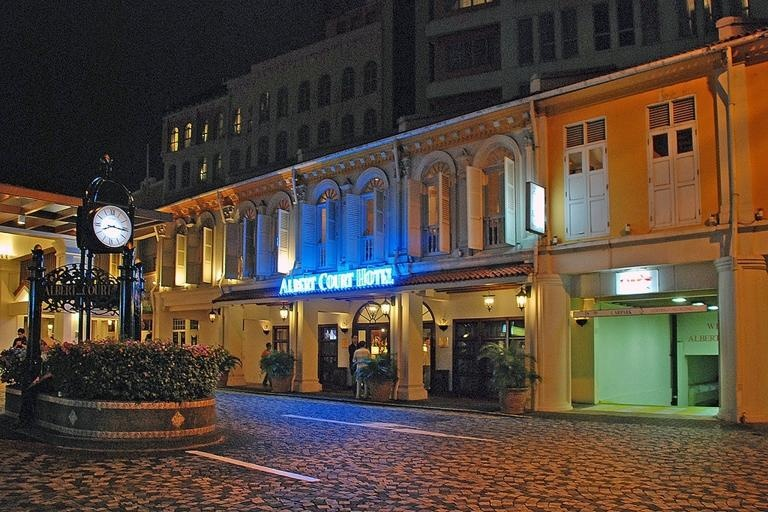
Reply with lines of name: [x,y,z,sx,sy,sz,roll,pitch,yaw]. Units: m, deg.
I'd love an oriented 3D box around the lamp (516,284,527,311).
lamp: [4.734,1.425,29.446,0.331,0.803,0.703,2,3,9]

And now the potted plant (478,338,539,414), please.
potted plant: [4.436,4.188,29.034,2.023,2.460,2.334,-12,-17,42]

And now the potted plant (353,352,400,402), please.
potted plant: [-0.266,4.611,31.829,1.624,1.610,1.628,0,-16,3]

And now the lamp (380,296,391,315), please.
lamp: [0.121,1.953,32.739,0.552,0.765,0.520,-3,-4,5]

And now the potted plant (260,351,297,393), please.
potted plant: [-4.592,4.790,34.795,1.515,1.518,1.527,-5,-6,31]

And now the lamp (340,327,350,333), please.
lamp: [-1.702,3.156,36.151,0.235,0.193,0.259,2,-8,-14]

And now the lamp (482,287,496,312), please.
lamp: [3.846,1.693,32.085,0.550,0.847,0.567,3,4,26]
